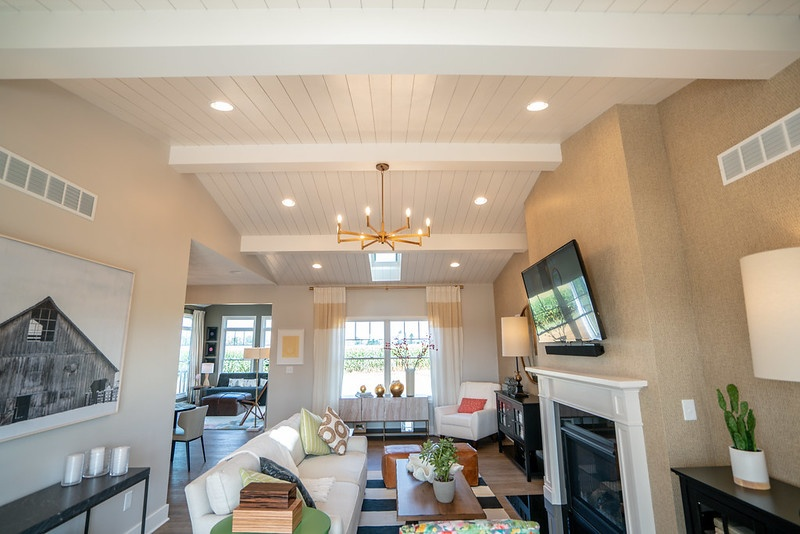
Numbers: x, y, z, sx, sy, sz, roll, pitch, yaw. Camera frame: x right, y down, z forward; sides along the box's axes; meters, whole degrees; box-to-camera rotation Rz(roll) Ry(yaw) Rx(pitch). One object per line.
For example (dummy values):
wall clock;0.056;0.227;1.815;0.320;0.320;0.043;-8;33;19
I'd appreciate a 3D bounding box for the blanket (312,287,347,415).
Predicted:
blanket;-1.261;1.574;7.871;0.758;2.455;0.191;1;7;0

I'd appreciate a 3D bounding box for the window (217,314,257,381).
window;-4.000;1.941;11.187;0.826;1.485;0.109;0;-7;-1

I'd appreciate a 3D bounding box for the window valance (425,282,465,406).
window valance;0.771;1.341;7.959;0.617;2.049;0.145;0;5;17

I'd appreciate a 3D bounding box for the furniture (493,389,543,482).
furniture;1.552;2.197;5.870;0.445;0.914;1.257;1;-7;5

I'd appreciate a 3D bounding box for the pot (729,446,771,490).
pot;2.543;1.469;3.301;0.200;0.288;0.307;0;-11;-5

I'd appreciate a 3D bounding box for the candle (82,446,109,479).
candle;-2.570;1.647;3.832;0.209;0.228;0.206;1;-2;-4

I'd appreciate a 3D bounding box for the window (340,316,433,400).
window;-0.231;1.672;8.063;1.496;1.264;0.109;0;-11;2

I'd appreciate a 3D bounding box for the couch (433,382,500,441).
couch;1.104;2.283;7.114;1.099;0.844;1.053;2;-10;-13

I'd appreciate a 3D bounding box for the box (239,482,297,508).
box;-1.001;1.696;3.348;0.282;0.092;0.194;1;-10;-3

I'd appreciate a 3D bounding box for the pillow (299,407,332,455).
pillow;-1.012;1.868;5.120;0.150;0.462;0.496;-30;-45;30

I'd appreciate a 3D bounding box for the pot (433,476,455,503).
pot;0.397;1.991;4.037;0.188;0.145;0.185;0;-18;0

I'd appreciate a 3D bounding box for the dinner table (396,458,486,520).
dinner table;0.306;2.293;4.439;0.759;0.295;1.332;1;-6;-3

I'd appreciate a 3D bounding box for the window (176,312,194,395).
window;-4.967;2.028;10.446;0.205;1.922;0.584;3;-14;-19

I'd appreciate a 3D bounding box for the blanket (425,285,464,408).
blanket;0.797;1.312;7.925;0.571;2.020;0.140;1;-8;-23

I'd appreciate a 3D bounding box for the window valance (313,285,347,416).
window valance;-1.243;1.411;7.827;0.552;2.147;0.218;1;-14;-11
